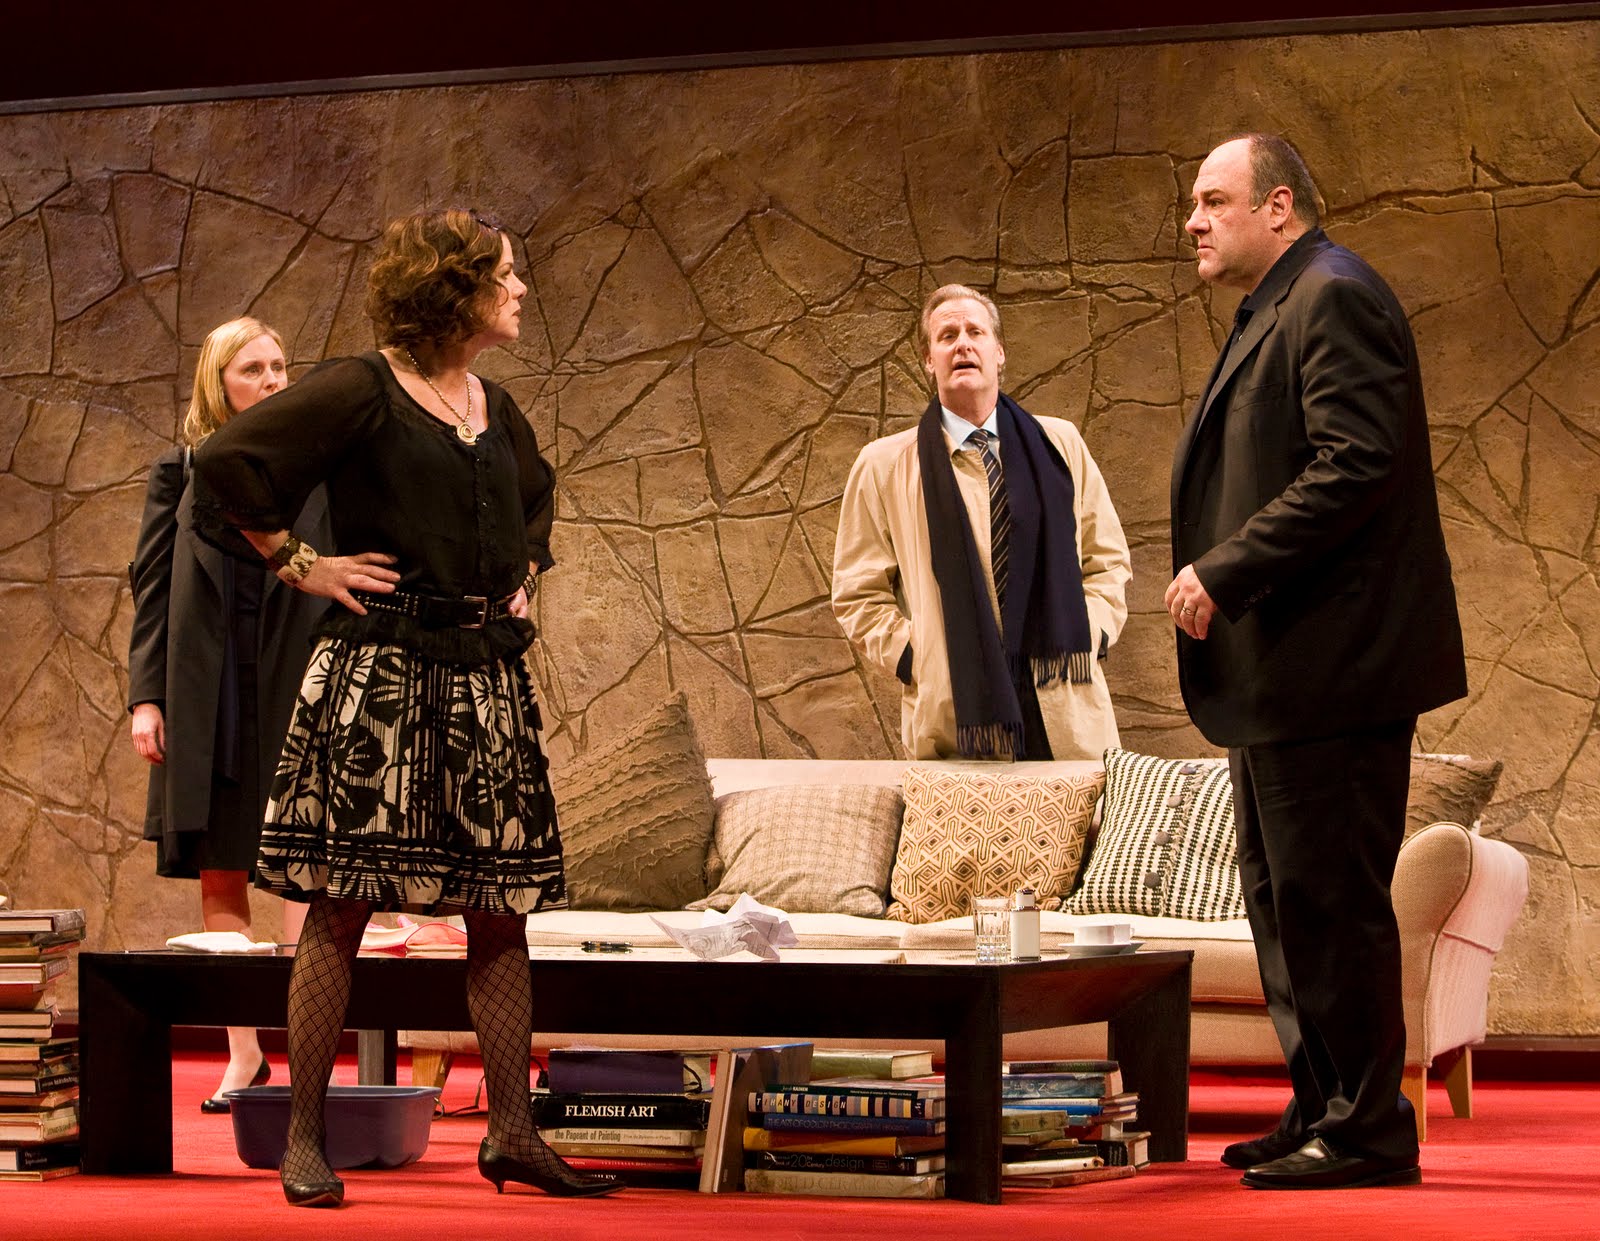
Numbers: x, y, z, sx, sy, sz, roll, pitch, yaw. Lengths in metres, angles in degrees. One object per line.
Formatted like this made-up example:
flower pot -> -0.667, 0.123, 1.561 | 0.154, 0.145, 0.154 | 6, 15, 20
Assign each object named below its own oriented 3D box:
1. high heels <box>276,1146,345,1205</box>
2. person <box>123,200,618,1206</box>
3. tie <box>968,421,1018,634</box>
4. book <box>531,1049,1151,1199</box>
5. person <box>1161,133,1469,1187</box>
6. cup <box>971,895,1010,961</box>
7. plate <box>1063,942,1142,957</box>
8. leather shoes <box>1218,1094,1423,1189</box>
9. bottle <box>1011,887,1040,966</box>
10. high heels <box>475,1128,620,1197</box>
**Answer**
high heels -> -0.924, 1.045, 3.822 | 0.111, 0.107, 0.082 | 1, -10, -15
person -> -0.765, 0.143, 3.909 | 0.761, 1.902, 0.337 | 0, -10, -8
tie -> 0.574, -0.285, 5.915 | 0.084, 0.598, 0.070 | -5, -11, 8
book -> 0.065, 1.044, 4.305 | 1.258, 0.301, 0.480 | -4, -11, 15
person -> 1.014, 0.043, 4.065 | 0.563, 2.120, 0.526 | -6, -11, 27
cup -> 0.392, 0.630, 4.171 | 0.075, 0.122, 0.120 | -2, -10, 2
plate -> 0.647, 0.691, 4.288 | 0.217, 0.029, 0.163 | 2, -11, -16
leather shoes -> 0.991, 1.020, 4.041 | 0.458, 0.204, 0.175 | 1, -10, 8
bottle -> 0.456, 0.618, 4.160 | 0.067, 0.143, 0.124 | -2, -10, 5
high heels -> -0.506, 1.041, 3.924 | 0.308, 0.156, 0.106 | 0, -8, -4
